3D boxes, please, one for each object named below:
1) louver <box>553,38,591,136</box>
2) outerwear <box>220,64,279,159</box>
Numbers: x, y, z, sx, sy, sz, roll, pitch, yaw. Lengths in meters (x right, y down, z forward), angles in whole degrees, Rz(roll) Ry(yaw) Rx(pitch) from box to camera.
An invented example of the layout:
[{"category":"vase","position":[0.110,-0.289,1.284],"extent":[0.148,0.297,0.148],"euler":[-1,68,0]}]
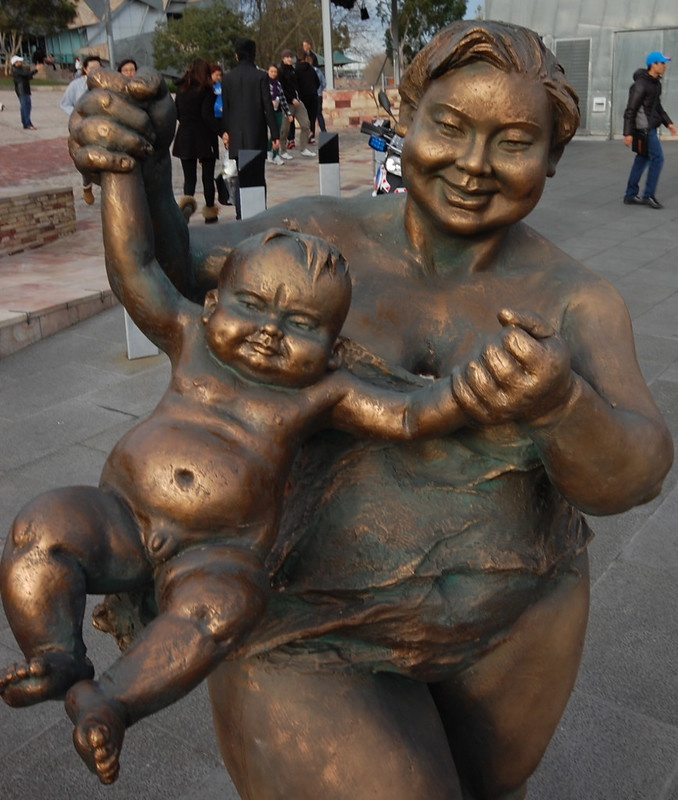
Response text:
[{"category":"louver","position":[5.426,-7.551,17.897],"extent":[0.790,0.174,2.226],"euler":[6,-17,21]},{"category":"outerwear","position":[-1.172,-3.513,10.083],"extent":[0.729,1.744,0.597],"euler":[1,26,1]}]
